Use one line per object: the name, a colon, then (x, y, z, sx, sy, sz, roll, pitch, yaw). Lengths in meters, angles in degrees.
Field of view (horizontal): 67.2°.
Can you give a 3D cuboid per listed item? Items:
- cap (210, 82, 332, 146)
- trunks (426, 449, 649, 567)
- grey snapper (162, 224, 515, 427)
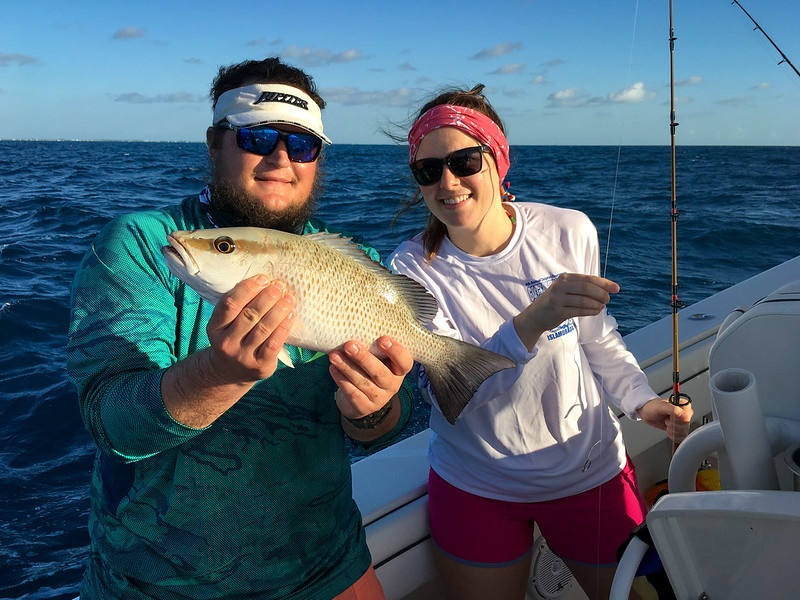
cap: (-0.468, -0.698, 2.300, 0.447, 0.183, 0.596, 0, 9, -26)
trunks: (0.551, 0.846, 2.437, 0.582, 0.387, 0.228, -4, 3, 1)
grey snapper: (-0.193, 0.055, 1.931, 1.127, 0.534, 0.263, 25, -24, -2)
